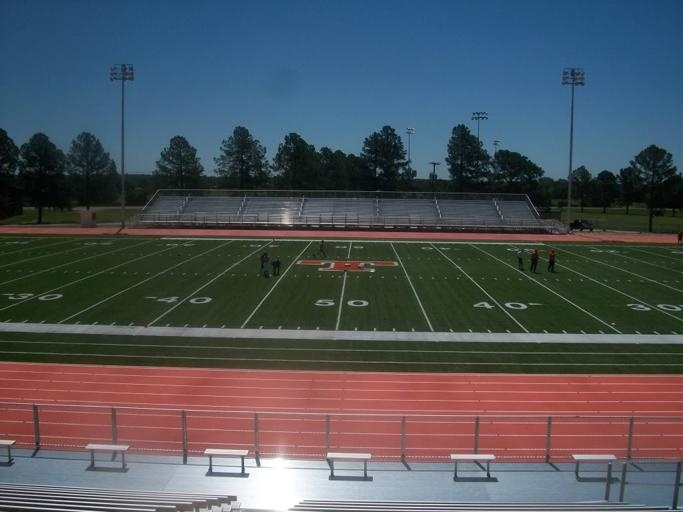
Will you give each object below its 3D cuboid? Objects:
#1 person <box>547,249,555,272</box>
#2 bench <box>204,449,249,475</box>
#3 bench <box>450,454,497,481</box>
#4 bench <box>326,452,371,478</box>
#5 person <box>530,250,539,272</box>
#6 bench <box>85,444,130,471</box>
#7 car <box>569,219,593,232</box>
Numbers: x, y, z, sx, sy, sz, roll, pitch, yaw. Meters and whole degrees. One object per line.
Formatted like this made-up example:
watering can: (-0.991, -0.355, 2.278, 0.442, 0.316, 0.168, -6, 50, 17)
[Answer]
person: (12.978, 0.299, 33.136, 0.443, 1.314, 1.922, -1, 1, 20)
bench: (-2.661, 4.678, 12.405, 0.931, 0.684, 0.842, -1, 1, -10)
bench: (3.026, 4.898, 12.444, 1.422, 0.494, 0.659, 0, -6, 2)
bench: (0.137, 4.668, 12.339, 1.468, 0.618, 0.652, 0, -13, 2)
person: (11.986, 0.309, 33.410, 0.404, 1.280, 2.296, -1, 1, 20)
bench: (-5.452, 4.629, 12.588, 1.193, 0.447, 0.592, -1, 1, 9)
car: (27.038, -3.409, 60.670, 2.297, 1.263, 3.029, 2, 9, 14)
